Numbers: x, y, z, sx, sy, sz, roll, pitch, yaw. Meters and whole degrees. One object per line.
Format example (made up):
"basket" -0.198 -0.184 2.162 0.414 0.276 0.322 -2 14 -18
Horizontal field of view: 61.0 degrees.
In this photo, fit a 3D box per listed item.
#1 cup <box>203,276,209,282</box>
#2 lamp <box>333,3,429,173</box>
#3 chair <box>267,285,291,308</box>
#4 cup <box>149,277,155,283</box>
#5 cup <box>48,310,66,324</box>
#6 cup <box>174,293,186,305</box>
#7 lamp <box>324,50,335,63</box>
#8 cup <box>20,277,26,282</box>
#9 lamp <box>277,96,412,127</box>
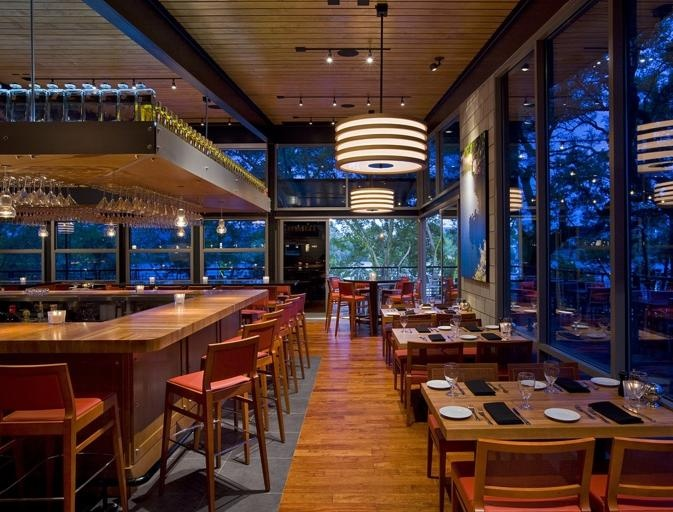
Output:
"cup" -2.427 0.427 10.496 0.069 0.068 0.126 7 6 -8
"lamp" 0.396 -1.751 5.854 0.873 1.841 1.508 -1 14 -5
"chair" -0.880 0.601 8.547 0.347 0.487 0.316 1 -1 4
"cup" -3.103 0.399 9.557 0.104 0.100 0.101 0 2 0
"cup" -2.345 0.500 4.778 0.124 0.088 0.121 -1 -1 0
"cup" -1.616 0.446 5.882 0.113 0.151 0.125 -1 -4 -10
"lamp" -0.107 -2.614 7.557 0.100 0.211 0.103 9 14 40
"cup" -5.760 0.432 10.452 0.100 0.074 0.081 1 -2 -13
"lamp" 0.111 -2.226 8.689 1.564 0.308 0.208 0 -4 2
